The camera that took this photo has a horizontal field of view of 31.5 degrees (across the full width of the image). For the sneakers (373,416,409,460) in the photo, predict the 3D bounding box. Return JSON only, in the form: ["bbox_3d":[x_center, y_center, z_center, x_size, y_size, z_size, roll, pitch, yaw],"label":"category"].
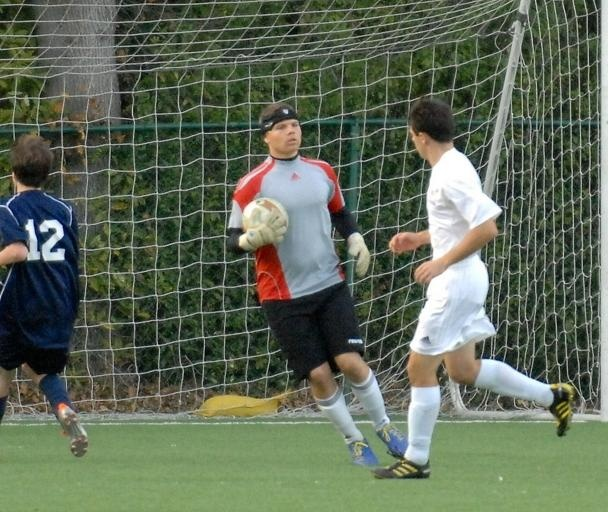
[{"bbox_3d":[0.532,1.099,6.394,0.128,0.233,0.090,-40,-14,1],"label":"sneakers"}]

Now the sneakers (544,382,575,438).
[{"bbox_3d":[1.495,0.887,6.318,0.157,0.338,0.114,-14,17,-26],"label":"sneakers"}]

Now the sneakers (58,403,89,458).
[{"bbox_3d":[-1.303,1.005,6.200,0.112,0.301,0.163,-3,-40,-40],"label":"sneakers"}]

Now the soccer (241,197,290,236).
[{"bbox_3d":[-0.218,-0.236,6.266,0.209,0.216,0.205,9,5,8],"label":"soccer"}]

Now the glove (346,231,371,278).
[{"bbox_3d":[0.316,-0.003,6.676,0.089,0.266,0.176,-21,-24,39],"label":"glove"}]

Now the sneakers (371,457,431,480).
[{"bbox_3d":[0.545,1.211,6.097,0.337,0.132,0.119,2,-6,0],"label":"sneakers"}]

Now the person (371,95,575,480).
[{"bbox_3d":[0.907,0.184,6.113,0.772,2.162,0.743,2,5,30],"label":"person"}]

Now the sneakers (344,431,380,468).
[{"bbox_3d":[0.351,1.187,6.393,0.098,0.264,0.113,-43,-22,13],"label":"sneakers"}]

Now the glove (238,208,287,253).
[{"bbox_3d":[-0.237,-0.141,6.280,0.221,0.077,0.168,-24,-13,17],"label":"glove"}]
